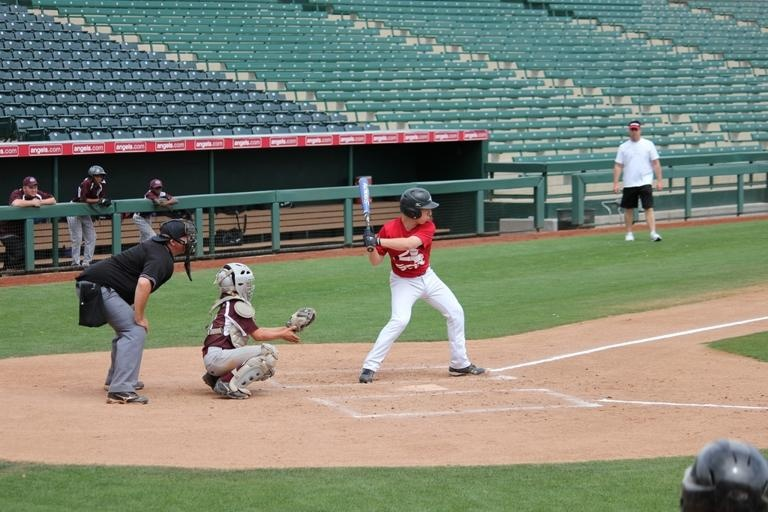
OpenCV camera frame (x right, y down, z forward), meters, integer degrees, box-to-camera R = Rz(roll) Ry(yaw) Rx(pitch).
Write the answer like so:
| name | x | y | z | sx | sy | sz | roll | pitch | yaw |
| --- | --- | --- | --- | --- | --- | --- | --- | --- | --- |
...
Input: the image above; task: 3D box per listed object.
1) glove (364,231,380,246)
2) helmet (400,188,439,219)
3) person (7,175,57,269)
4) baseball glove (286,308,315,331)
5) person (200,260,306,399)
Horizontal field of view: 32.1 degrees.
| name | x | y | z | sx | sy | sz | roll | pitch | yaw |
| --- | --- | --- | --- | --- | --- | --- | --- | --- | --- |
| glove | -0.172 | -0.269 | 21.114 | 0.234 | 0.254 | 0.237 | -3 | 2 | -3 |
| helmet | 0.570 | -0.841 | 21.318 | 0.458 | 0.480 | 0.404 | -2 | 2 | 22 |
| person | -7.514 | -0.693 | 28.354 | 1.108 | 1.311 | 0.682 | -4 | 2 | -31 |
| baseball glove | -1.208 | 0.975 | 20.635 | 0.356 | 0.467 | 0.136 | 32 | -32 | 27 |
| person | -2.191 | 1.172 | 20.716 | 1.213 | 2.078 | 0.307 | -3 | 2 | 2 |
